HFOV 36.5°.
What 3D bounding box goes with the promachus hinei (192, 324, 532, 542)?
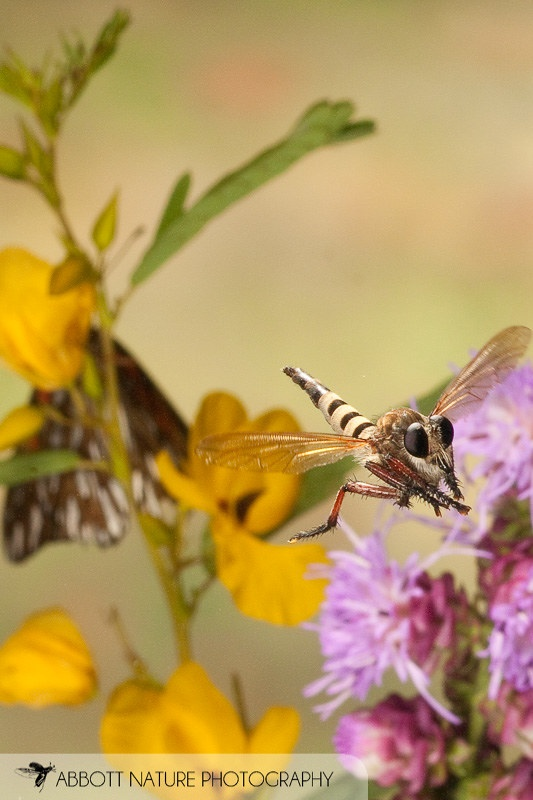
[{"bbox_3d":[0.057,-0.014,0.482,0.117,0.139,0.140,-14,20,-36],"label":"promachus hinei"}]
